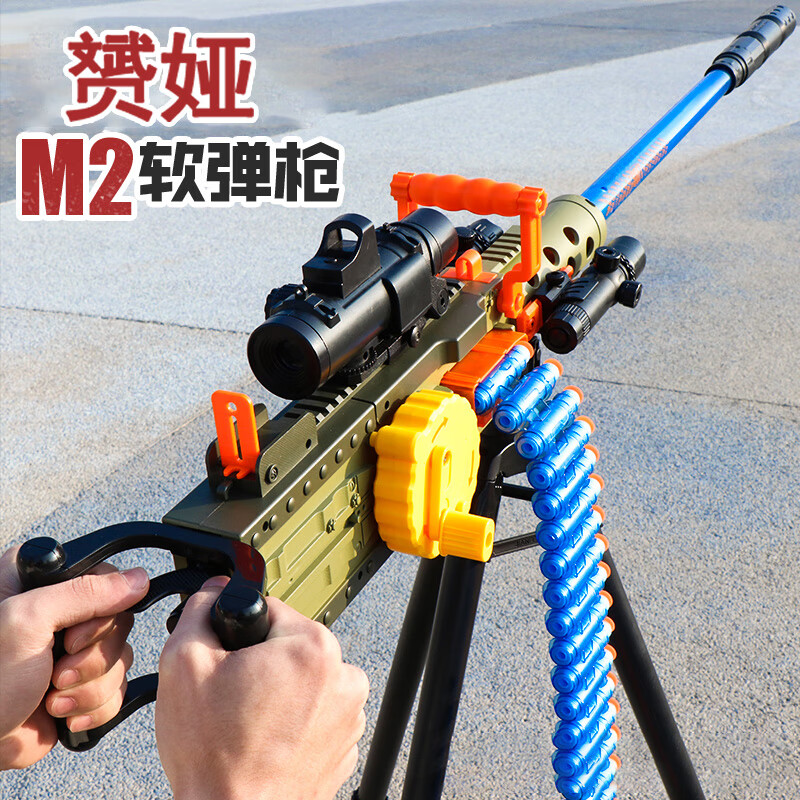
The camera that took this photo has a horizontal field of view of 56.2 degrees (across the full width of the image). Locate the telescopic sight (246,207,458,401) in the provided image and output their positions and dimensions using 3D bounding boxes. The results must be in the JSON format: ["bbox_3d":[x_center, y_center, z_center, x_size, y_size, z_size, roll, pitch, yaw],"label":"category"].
[{"bbox_3d":[-0.087,-0.212,1.389,0.269,0.224,0.475,7,34,27],"label":"telescopic sight"}]
